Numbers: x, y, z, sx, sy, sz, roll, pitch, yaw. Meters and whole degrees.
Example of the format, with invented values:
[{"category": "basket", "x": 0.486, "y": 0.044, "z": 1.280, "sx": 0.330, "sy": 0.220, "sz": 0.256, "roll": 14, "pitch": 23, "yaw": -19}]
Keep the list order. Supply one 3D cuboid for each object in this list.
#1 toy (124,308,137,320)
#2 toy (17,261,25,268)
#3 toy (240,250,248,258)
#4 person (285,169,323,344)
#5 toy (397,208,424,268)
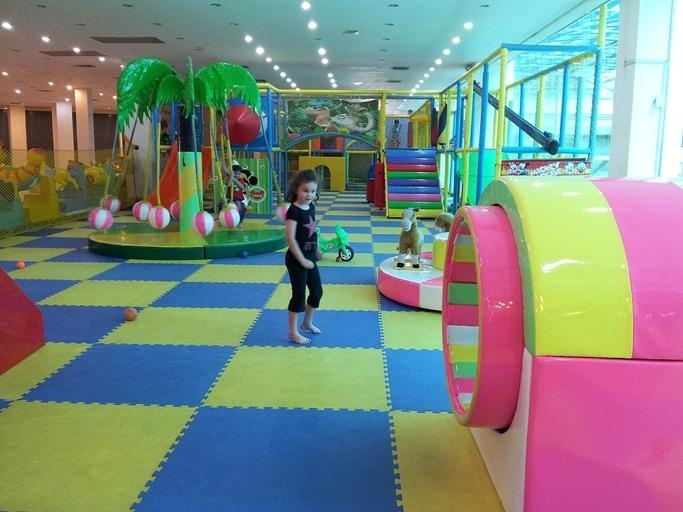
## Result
[{"category": "toy", "x": -1.583, "y": 0.424, "z": 3.736, "sx": 0.082, "sy": 0.099, "sz": 0.085, "roll": 0, "pitch": 10, "yaw": -22}, {"category": "toy", "x": -3.368, "y": 0.082, "z": 5.226, "sx": 0.070, "sy": 0.077, "sz": 0.085, "roll": 3, "pitch": 0, "yaw": -8}, {"category": "toy", "x": -1.115, "y": -0.040, "z": 5.797, "sx": 0.064, "sy": 0.067, "sz": 0.128, "roll": 11, "pitch": 16, "yaw": 40}, {"category": "person", "x": -0.255, "y": -0.010, "z": 3.332, "sx": 0.233, "sy": 1.147, "sz": 0.381, "roll": 0, "pitch": 12, "yaw": -3}, {"category": "toy", "x": 0.619, "y": -0.177, "z": 4.543, "sx": 0.222, "sy": 0.555, "sz": 0.630, "roll": 4, "pitch": -1, "yaw": 16}]
